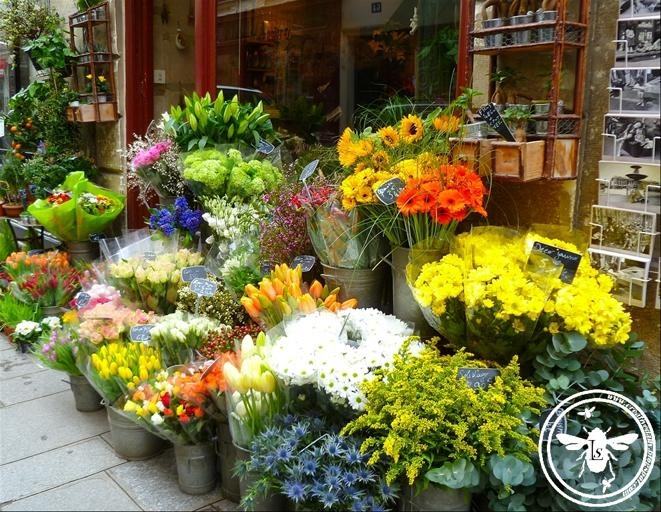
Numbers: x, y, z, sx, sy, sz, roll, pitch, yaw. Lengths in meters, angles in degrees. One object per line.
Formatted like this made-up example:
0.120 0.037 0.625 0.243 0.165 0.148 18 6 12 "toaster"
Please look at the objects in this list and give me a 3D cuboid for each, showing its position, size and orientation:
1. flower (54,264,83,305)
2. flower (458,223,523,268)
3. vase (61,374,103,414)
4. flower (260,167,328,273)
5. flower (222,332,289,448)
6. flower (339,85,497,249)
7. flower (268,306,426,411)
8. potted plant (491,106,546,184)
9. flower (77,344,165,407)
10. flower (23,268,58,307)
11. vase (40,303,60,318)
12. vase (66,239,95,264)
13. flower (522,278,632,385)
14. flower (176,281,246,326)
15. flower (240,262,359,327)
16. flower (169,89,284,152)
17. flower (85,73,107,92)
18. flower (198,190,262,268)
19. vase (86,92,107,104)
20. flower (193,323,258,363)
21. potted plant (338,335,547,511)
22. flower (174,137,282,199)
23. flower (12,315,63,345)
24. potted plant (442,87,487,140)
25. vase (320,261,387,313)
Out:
-2.265 0.261 4.301 0.271 0.316 0.314 11 14 -29 "flower"
0.703 -0.066 2.270 0.208 0.086 0.223 6 34 30 "flower"
-1.535 0.864 3.208 0.246 0.189 0.247 4 19 -2 "vase"
-0.203 -0.188 2.876 0.387 0.518 0.414 14 36 19 "flower"
-0.339 0.641 2.181 0.185 0.302 0.192 -18 -20 39 "flower"
0.475 -0.565 2.636 0.693 0.814 0.824 18 29 38 "flower"
0.016 0.383 2.189 0.476 0.184 0.462 13 38 31 "flower"
0.839 -0.507 2.338 0.260 0.349 0.366 11 19 41 "potted plant"
-1.216 0.705 2.830 0.437 0.456 0.443 7 -24 -28 "flower"
-2.400 0.273 4.171 0.266 0.274 0.181 -12 17 -33 "flower"
-2.320 0.450 4.166 0.115 0.080 0.108 2 -1 -37 "vase"
-2.291 -0.040 4.587 0.255 0.198 0.228 -7 16 -19 "vase"
0.995 0.307 2.050 0.306 0.344 0.292 18 26 16 "flower"
-0.705 0.270 2.947 0.312 0.187 0.244 1 6 -3 "flower"
-0.195 0.194 2.515 0.368 0.287 0.427 -17 25 -41 "flower"
-0.827 -0.977 3.669 0.585 0.336 0.573 -6 19 -30 "flower"
-2.297 -1.710 4.984 0.225 0.167 0.229 6 13 8 "flower"
-0.558 -0.191 3.181 0.454 0.490 0.432 0 10 -10 "flower"
-2.266 -1.540 4.946 0.187 0.069 0.188 1 9 2 "vase"
-0.545 0.402 2.615 0.238 0.103 0.199 -29 -4 -45 "flower"
0.413 0.567 2.066 0.692 0.621 0.648 -5 17 -14 "potted plant"
-0.694 -0.536 3.530 0.567 0.337 0.534 7 13 6 "flower"
-2.226 0.562 3.825 0.223 0.090 0.227 8 25 16 "flower"
0.718 -0.745 2.516 0.143 0.182 0.151 -13 12 -15 "potted plant"
0.116 0.200 2.773 0.392 0.298 0.356 -5 1 -40 "vase"
